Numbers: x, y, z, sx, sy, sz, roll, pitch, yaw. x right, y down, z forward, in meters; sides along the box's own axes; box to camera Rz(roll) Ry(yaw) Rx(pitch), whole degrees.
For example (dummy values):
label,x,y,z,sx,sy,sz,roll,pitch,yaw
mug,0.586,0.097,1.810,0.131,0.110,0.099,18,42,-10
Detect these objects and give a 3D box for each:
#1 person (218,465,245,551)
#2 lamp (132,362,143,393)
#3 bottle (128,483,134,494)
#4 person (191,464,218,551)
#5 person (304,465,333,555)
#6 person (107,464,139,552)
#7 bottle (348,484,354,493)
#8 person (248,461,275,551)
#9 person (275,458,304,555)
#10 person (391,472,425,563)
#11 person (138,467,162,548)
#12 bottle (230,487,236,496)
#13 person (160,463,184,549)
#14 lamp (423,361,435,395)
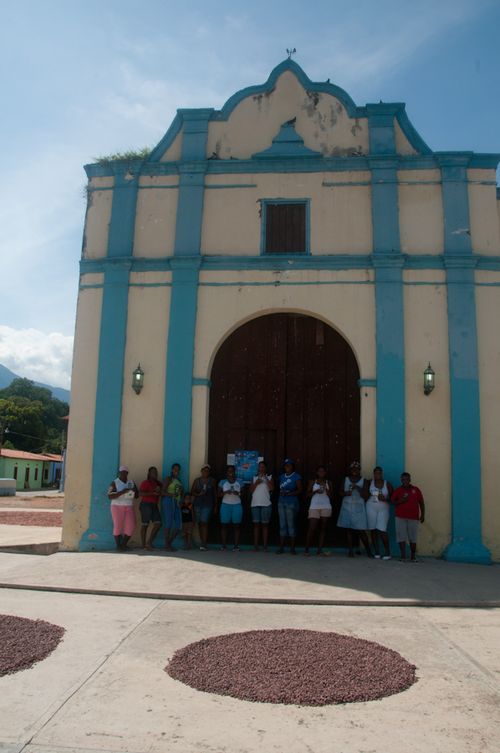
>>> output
label,x,y,z,sx,sy,sz,roll,pitch,yaw
person,-0.325,2.200,10.381,0.388,1.343,0.611,1,-7,0
lamp,-1.937,0.051,10.757,0.192,0.563,0.256,2,-7,-11
bottle,-1.915,1.810,9.990,0.117,0.232,0.121,-1,-6,0
person,-0.783,2.167,10.229,0.427,1.321,0.515,3,-7,-21
person,1.134,2.190,10.136,0.433,1.351,0.774,0,-7,7
person,-2.056,2.147,9.992,0.306,1.299,0.676,-2,-7,20
bottle,1.597,1.801,9.808,0.069,0.138,0.052,0,-7,9
person,0.184,2.145,10.312,0.367,1.392,0.562,1,-7,1
person,0.625,2.100,10.024,0.373,1.458,0.411,0,-7,10
person,2.430,2.169,9.593,0.488,1.299,0.370,-1,-7,14
person,-1.630,2.138,10.076,0.349,1.280,0.333,2,-7,-10
bottle,-0.272,1.904,10.138,0.072,0.085,0.040,1,-7,0
person,-1.273,2.120,10.124,0.346,1.351,0.422,2,-7,-8
lamp,2.949,0.052,10.258,0.178,0.538,0.242,-2,-7,19
